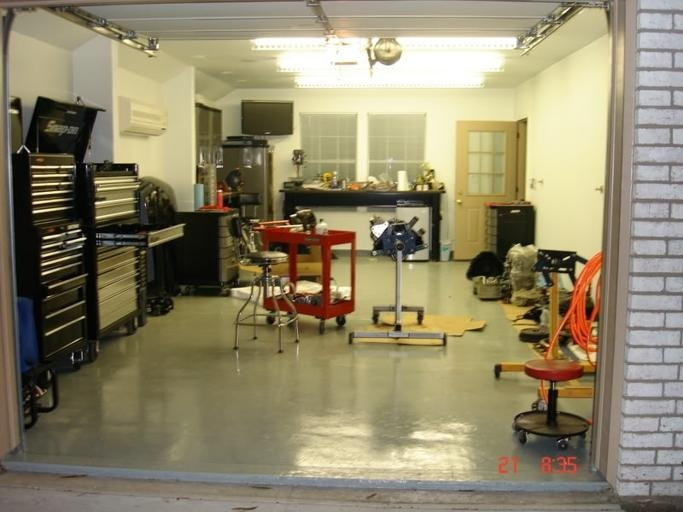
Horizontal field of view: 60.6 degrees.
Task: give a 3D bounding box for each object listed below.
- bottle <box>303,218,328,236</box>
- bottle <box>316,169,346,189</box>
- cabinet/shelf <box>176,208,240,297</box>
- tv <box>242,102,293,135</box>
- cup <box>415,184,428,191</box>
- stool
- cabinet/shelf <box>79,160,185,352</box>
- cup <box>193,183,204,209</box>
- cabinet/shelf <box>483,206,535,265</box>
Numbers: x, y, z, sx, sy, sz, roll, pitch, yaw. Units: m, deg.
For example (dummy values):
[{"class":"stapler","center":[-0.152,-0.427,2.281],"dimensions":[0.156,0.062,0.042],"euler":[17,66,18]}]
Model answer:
[{"class":"bottle","center":[-0.260,-0.306,5.799],"dimensions":[0.253,0.169,0.431],"euler":[0,6,-4]},{"class":"bottle","center":[-0.139,-1.349,10.271],"dimensions":[0.507,0.211,0.401],"euler":[2,7,6]},{"class":"cabinet/shelf","center":[-1.660,-0.041,7.144],"dimensions":[0.911,0.978,1.275],"euler":[0,5,1]},{"class":"tv","center":[-1.321,-2.435,10.219],"dimensions":[0.855,0.399,0.111],"euler":[0,13,-2]},{"class":"cup","center":[1.389,-1.171,9.959],"dimensions":[0.218,0.117,0.270],"euler":[1,6,6]},{"class":"stool","center":[1.304,0.912,3.612],"dimensions":[0.531,0.351,0.458],"euler":[2,-4,31]},{"class":"cabinet/shelf","center":[-1.902,-0.024,5.216],"dimensions":[1.197,1.568,1.370],"euler":[0,6,-4]},{"class":"cup","center":[-1.834,-0.760,7.517],"dimensions":[0.123,0.316,0.191],"euler":[-2,7,-13]},{"class":"cabinet/shelf","center":[2.870,-0.313,9.490],"dimensions":[1.015,0.977,1.255],"euler":[1,5,9]}]
